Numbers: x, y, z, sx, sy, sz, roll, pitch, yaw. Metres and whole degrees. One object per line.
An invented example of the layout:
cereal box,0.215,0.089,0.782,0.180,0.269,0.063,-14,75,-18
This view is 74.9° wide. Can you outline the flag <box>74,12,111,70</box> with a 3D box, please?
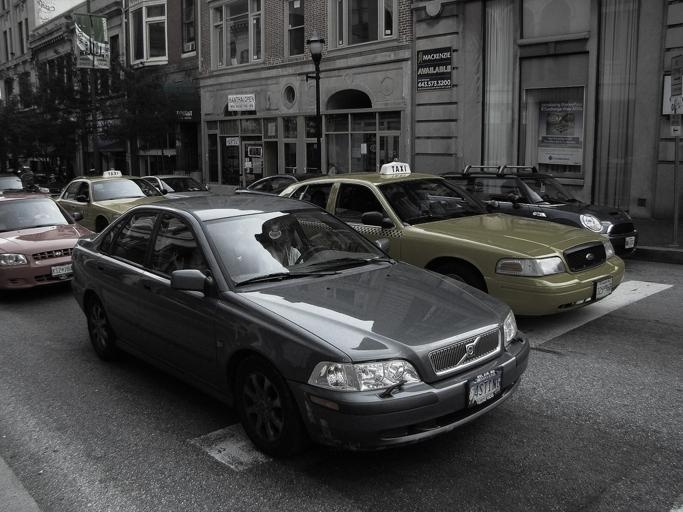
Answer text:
flag,-13.582,-11.836,24.243,1.620,2.988,0.981,-7,9,-36
